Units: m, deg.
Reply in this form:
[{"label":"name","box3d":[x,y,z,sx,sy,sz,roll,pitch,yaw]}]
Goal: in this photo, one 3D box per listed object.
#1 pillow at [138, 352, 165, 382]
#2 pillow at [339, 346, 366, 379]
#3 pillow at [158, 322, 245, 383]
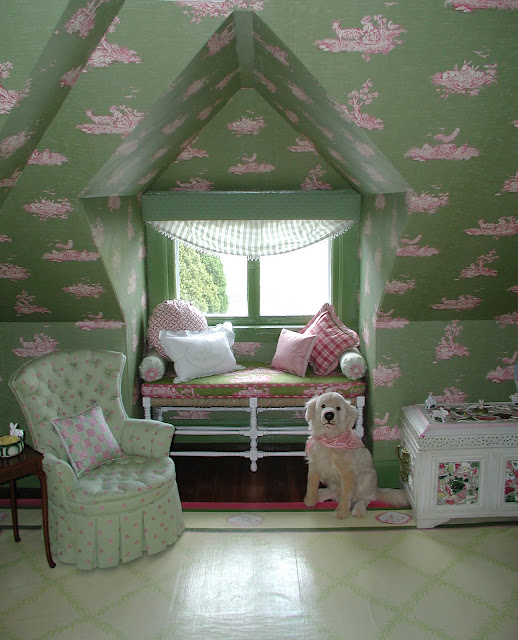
[{"label":"pillow","box3d":[-0.743,0.339,3.883,0.116,0.089,0.212,20,8,-10]},{"label":"pillow","box3d":[0.654,0.304,3.858,0.114,0.094,0.231,31,0,-10]},{"label":"pillow","box3d":[-0.432,0.241,3.982,0.475,0.274,0.130,-7,-16,-28]}]
